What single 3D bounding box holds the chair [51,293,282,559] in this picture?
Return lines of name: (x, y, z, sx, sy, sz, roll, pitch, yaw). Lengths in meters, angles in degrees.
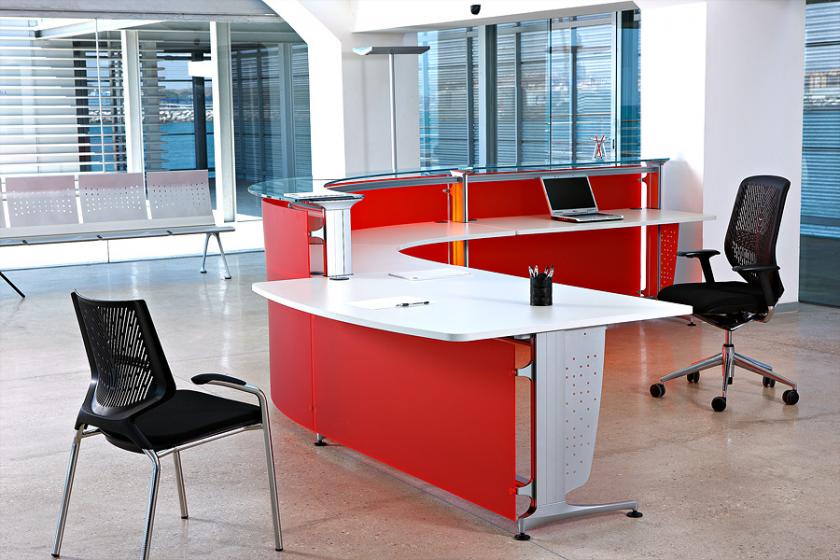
chair: (-1.190, 0.641, 2.886, 0.985, 1.227, 0.540, -11, 18, -20)
